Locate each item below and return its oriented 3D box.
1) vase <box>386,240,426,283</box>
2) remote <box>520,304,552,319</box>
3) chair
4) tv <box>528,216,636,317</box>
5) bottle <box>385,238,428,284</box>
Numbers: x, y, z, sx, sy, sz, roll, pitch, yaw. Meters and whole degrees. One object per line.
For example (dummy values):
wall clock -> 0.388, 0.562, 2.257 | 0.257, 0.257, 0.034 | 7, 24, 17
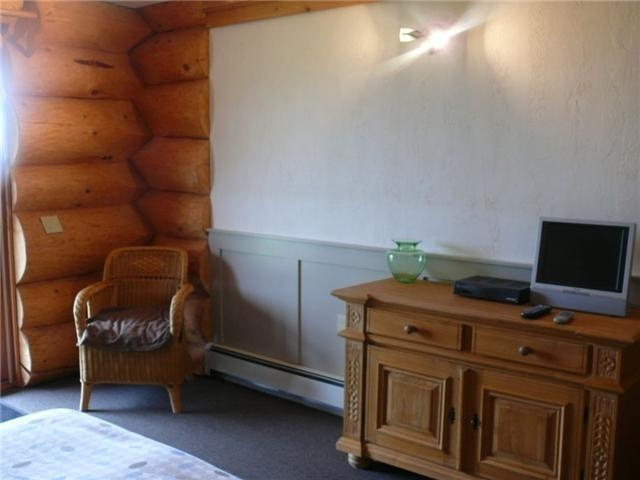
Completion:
vase -> 0.487, 0.113, 3.141 | 0.228, 0.241, 0.209 | 5, 12, 12
remote -> 1.009, 0.333, 2.547 | 0.211, 0.035, 0.056 | -9, 14, -39
chair -> -1.264, 0.575, 3.797 | 0.849, 0.950, 0.854 | -4, 11, -38
tv -> 1.251, 0.138, 2.599 | 0.436, 0.418, 0.058 | 9, -3, 32
bottle -> 0.486, 0.125, 3.160 | 0.257, 0.275, 0.239 | 6, 4, 21
